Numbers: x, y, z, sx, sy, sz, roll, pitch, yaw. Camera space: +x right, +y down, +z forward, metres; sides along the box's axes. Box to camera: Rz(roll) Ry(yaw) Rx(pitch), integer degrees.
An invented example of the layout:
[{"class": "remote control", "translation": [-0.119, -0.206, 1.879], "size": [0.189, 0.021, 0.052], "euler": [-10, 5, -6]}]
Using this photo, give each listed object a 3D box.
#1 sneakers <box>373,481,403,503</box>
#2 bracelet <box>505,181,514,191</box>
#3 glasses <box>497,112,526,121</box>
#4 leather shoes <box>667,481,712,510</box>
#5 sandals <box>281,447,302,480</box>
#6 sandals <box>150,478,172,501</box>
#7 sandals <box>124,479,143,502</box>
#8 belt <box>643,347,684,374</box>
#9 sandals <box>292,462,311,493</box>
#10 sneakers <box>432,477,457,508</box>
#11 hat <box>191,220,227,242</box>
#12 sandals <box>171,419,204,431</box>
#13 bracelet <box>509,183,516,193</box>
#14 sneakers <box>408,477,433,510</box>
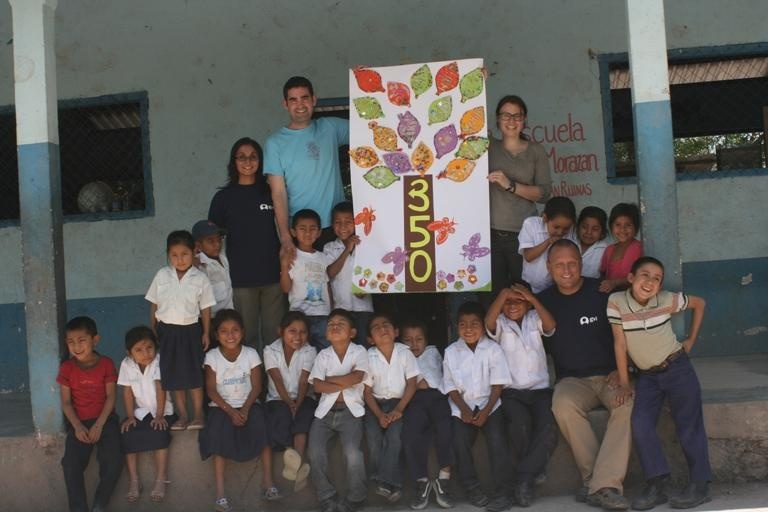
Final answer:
[{"class": "sneakers", "translation": [0.023, 1.659, 6.394], "size": [0.095, 0.101, 0.240], "euler": [-26, -40, 17]}, {"class": "bracelet", "translation": [0.962, -0.532, 7.035], "size": [0.034, 0.076, 0.053], "euler": [27, -28, -23]}, {"class": "glasses", "translation": [0.967, -1.069, 7.006], "size": [0.209, 0.052, 0.086], "euler": [-4, -2, 11]}, {"class": "leather shoes", "translation": [2.105, 1.642, 6.310], "size": [0.352, 0.168, 0.131], "euler": [-7, -1, -17]}, {"class": "sandals", "translation": [-0.661, 1.475, 6.478], "size": [0.131, 0.215, 0.077], "euler": [9, 0, 10]}, {"class": "sandals", "translation": [-1.622, 1.684, 6.565], "size": [0.111, 0.158, 0.065], "euler": [6, -13, -9]}, {"class": "sandals", "translation": [-1.810, 1.701, 6.590], "size": [0.121, 0.144, 0.365], "euler": [1, -8, -6]}, {"class": "belt", "translation": [1.985, 0.738, 6.441], "size": [0.182, 0.057, 0.173], "euler": [-33, -3, 33]}, {"class": "sandals", "translation": [-0.591, 1.575, 6.548], "size": [0.087, 0.219, 0.091], "euler": [17, -4, -12]}, {"class": "sneakers", "translation": [0.428, 1.665, 6.428], "size": [0.148, 0.156, 0.125], "euler": [-3, -2, -16]}, {"class": "hat", "translation": [-1.380, -0.198, 7.120], "size": [0.194, 0.106, 0.144], "euler": [-20, 0, 13]}, {"class": "sandals", "translation": [-1.437, 1.233, 6.642], "size": [0.229, 0.060, 0.089], "euler": [3, -8, -6]}, {"class": "bracelet", "translation": [0.988, -0.524, 7.019], "size": [0.048, 0.064, 0.025], "euler": [-2, -7, -18]}, {"class": "sneakers", "translation": [0.270, 1.684, 6.428], "size": [0.101, 0.278, 0.127], "euler": [1, -28, 46]}]
